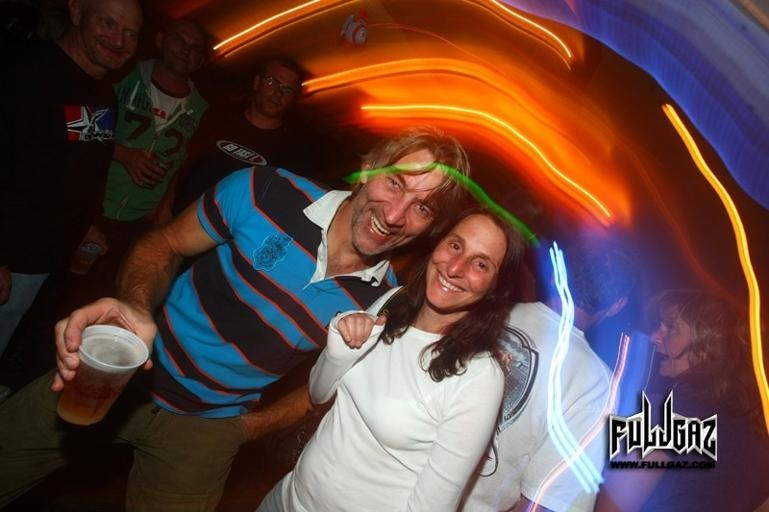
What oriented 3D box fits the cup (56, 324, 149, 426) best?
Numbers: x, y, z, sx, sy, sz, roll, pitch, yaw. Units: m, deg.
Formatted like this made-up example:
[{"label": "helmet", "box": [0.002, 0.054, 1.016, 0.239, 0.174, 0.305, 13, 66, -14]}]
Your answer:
[{"label": "cup", "box": [-1.168, 0.504, 2.342, 0.283, 0.473, 0.183, 22, -6, -14]}]
